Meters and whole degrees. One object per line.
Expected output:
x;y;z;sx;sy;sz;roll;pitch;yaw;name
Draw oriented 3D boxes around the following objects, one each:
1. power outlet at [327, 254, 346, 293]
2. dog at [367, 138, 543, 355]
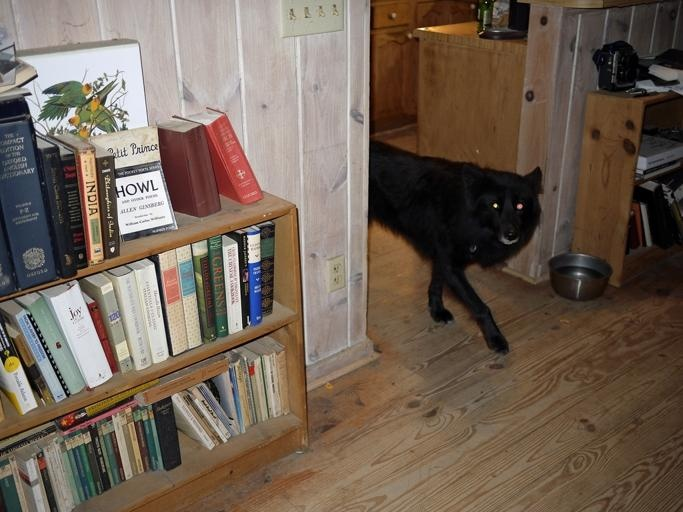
-0.026;0.067;2.092;0.017;0.149;0.111;27;42;33;power outlet
0.342;-0.153;2.853;0.410;0.910;1.499;-11;23;-37;dog
